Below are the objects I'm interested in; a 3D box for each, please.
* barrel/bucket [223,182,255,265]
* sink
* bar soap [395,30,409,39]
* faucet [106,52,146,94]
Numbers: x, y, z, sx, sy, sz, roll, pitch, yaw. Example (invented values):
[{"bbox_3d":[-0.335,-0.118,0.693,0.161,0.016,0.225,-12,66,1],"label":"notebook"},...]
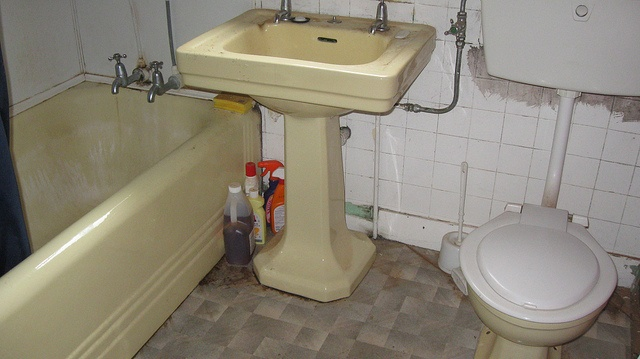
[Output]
[{"bbox_3d":[-0.443,0.230,2.702,0.131,0.447,0.152,3,2,23],"label":"barrel/bucket"},{"bbox_3d":[-0.027,-0.578,2.289,0.881,0.171,0.617,12,36,20],"label":"sink"},{"bbox_3d":[0.390,-0.688,2.338,0.038,0.010,0.072,7,34,14],"label":"bar soap"},{"bbox_3d":[-1.054,-0.577,2.647,0.155,0.188,0.330,7,24,14],"label":"faucet"}]
